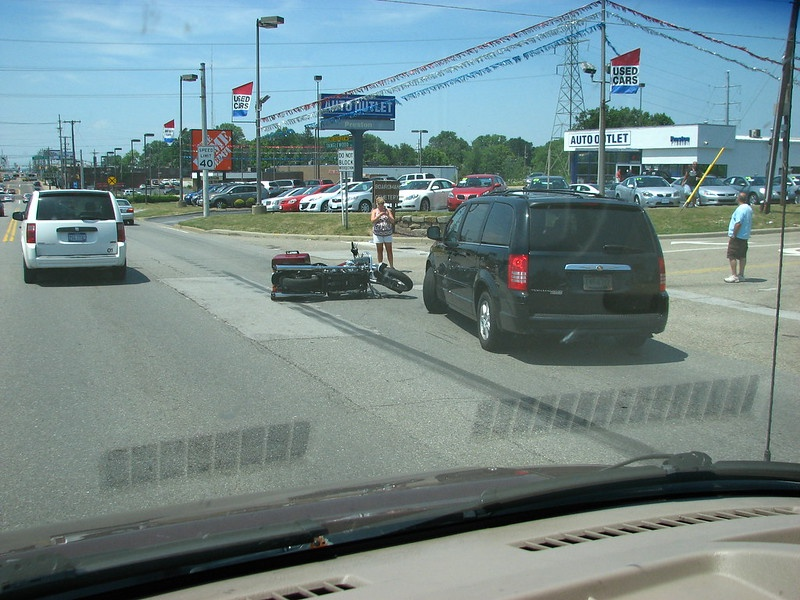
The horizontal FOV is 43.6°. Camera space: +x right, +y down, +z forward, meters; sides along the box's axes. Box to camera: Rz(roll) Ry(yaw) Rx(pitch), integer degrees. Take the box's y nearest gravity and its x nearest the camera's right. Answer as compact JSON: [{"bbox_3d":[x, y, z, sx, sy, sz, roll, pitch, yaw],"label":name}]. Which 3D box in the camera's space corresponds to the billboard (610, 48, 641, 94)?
[{"bbox_3d":[7.275,-7.396,32.480,0.942,1.356,0.554,2,11,8],"label":"billboard"}]

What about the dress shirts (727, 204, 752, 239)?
[{"bbox_3d":[5.783,-1.320,16.998,0.323,0.589,0.376,3,11,11],"label":"dress shirts"}]

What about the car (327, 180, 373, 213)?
[{"bbox_3d":[-1.746,-3.920,38.123,1.405,0.954,2.407,3,4,39],"label":"car"}]

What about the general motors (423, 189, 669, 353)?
[{"bbox_3d":[1.713,-0.525,12.622,2.334,1.437,3.997,-3,9,-13],"label":"general motors"}]

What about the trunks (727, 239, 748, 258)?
[{"bbox_3d":[5.769,-0.877,17.132,0.371,0.356,0.248,12,22,29],"label":"trunks"}]

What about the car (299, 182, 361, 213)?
[{"bbox_3d":[-2.774,-4.304,42.164,2.772,0.749,1.226,-6,6,-38],"label":"car"}]

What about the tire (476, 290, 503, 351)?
[{"bbox_3d":[1.015,0.239,11.329,0.274,0.639,0.739,-1,6,-17],"label":"tire"}]

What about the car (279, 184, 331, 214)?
[{"bbox_3d":[-4.093,-4.504,44.220,2.628,0.725,1.164,-12,10,-40],"label":"car"}]

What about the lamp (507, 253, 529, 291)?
[{"bbox_3d":[1.266,-0.292,10.761,0.110,0.385,0.303,-7,13,-35],"label":"lamp"}]

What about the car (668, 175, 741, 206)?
[{"bbox_3d":[11.499,-4.180,38.117,1.523,0.877,3.155,-2,5,-16],"label":"car"}]

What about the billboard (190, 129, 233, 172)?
[{"bbox_3d":[-9.143,-7.299,48.758,2.618,2.056,0.228,5,9,28],"label":"billboard"}]

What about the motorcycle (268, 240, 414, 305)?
[{"bbox_3d":[-1.016,-0.414,15.622,2.067,0.728,0.985,-3,4,-17],"label":"motorcycle"}]

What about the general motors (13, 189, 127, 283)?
[{"bbox_3d":[-5.544,-1.161,16.879,1.458,0.842,2.175,-3,11,-25],"label":"general motors"}]

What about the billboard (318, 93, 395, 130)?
[{"bbox_3d":[-2.873,-11.641,62.186,3.445,2.187,7.532,2,9,10],"label":"billboard"}]

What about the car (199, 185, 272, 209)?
[{"bbox_3d":[-9.037,-5.721,55.694,2.821,1.291,2.782,-6,12,-36],"label":"car"}]
